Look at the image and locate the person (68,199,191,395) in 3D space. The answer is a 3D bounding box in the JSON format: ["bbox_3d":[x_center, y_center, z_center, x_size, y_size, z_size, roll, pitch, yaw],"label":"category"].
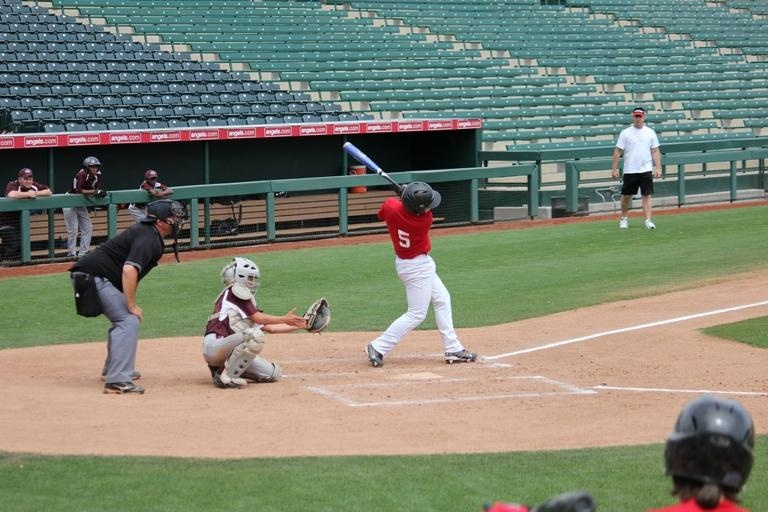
[{"bbox_3d":[-3.970,0.626,21.192,1.649,2.924,0.495,-4,3,-11],"label":"person"}]

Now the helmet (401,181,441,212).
[{"bbox_3d":[0.581,-0.913,21.866,0.590,0.481,0.331,-2,3,-1],"label":"helmet"}]

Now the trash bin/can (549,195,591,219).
[{"bbox_3d":[4.701,-1.214,34.467,1.020,0.470,0.664,-3,5,-38],"label":"trash bin/can"}]

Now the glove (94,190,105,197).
[{"bbox_3d":[-5.958,-1.313,28.764,0.202,0.070,0.154,21,20,38],"label":"glove"}]

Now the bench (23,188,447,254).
[{"bbox_3d":[-4.176,-0.932,32.297,13.529,1.330,1.824,-2,-1,-34],"label":"bench"}]

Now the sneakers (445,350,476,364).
[{"bbox_3d":[1.237,1.624,22.219,0.609,0.212,0.189,-2,1,-3],"label":"sneakers"}]

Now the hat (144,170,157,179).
[{"bbox_3d":[-5.000,-1.760,29.518,0.296,0.157,0.365,-1,0,-21],"label":"hat"}]

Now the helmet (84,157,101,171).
[{"bbox_3d":[-6.109,-1.923,28.680,0.267,0.238,0.313,-4,3,-22],"label":"helmet"}]

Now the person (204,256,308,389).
[{"bbox_3d":[-2.159,1.025,21.277,1.319,1.994,0.520,-3,3,-5],"label":"person"}]
